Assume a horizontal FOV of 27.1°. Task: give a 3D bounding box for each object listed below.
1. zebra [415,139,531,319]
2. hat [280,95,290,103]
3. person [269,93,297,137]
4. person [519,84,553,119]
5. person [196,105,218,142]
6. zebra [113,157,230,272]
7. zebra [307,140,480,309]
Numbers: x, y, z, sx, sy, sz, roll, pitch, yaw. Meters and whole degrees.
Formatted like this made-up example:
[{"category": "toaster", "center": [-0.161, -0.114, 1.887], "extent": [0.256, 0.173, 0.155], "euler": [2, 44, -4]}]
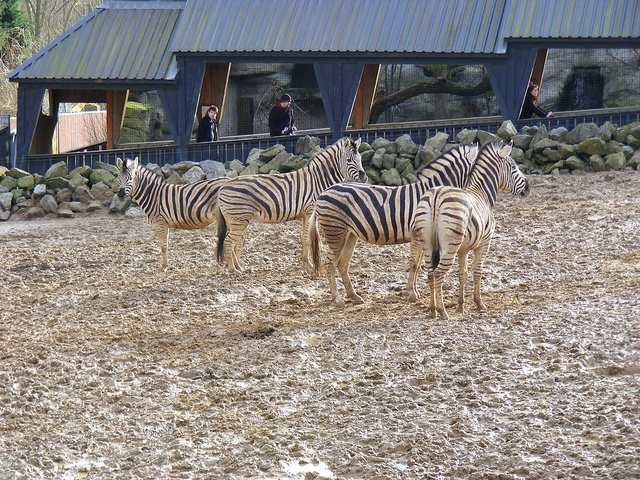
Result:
[{"category": "zebra", "center": [2.567, -0.200, 23.187], "extent": [1.872, 2.831, 0.877], "euler": [-12, 16, -41]}, {"category": "hat", "center": [-0.767, -3.094, 29.287], "extent": [0.155, 0.170, 0.160], "euler": [-6, 16, -34]}, {"category": "person", "center": [-0.868, -2.761, 29.646], "extent": [0.570, 0.985, 0.828], "euler": [0, 13, 2]}, {"category": "person", "center": [4.921, -3.124, 30.440], "extent": [0.688, 0.793, 2.270], "euler": [1, 14, 7]}, {"category": "person", "center": [-2.569, -2.470, 30.420], "extent": [0.384, 0.450, 1.104], "euler": [-9, 53, 6]}, {"category": "zebra", "center": [-2.738, -0.502, 25.120], "extent": [2.395, 2.131, 0.747], "euler": [-1, 2, -29]}, {"category": "zebra", "center": [1.295, -0.135, 23.710], "extent": [2.519, 2.597, 0.772], "euler": [-1, 8, 1]}]
